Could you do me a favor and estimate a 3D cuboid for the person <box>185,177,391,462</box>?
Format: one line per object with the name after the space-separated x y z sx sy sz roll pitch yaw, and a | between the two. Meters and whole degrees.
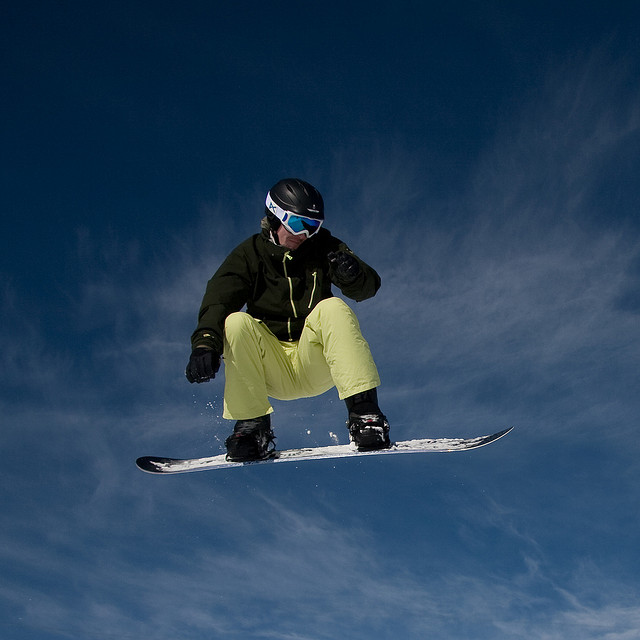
-0.303 -0.026 7.434 1.683 2.691 1.159 -6 -12 3 | person

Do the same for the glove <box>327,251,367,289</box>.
0.269 -0.466 7.306 0.173 0.302 0.411 -43 -73 6 | glove

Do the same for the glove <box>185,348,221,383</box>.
-1.023 0.393 6.823 0.306 0.316 0.202 -3 -12 -8 | glove
